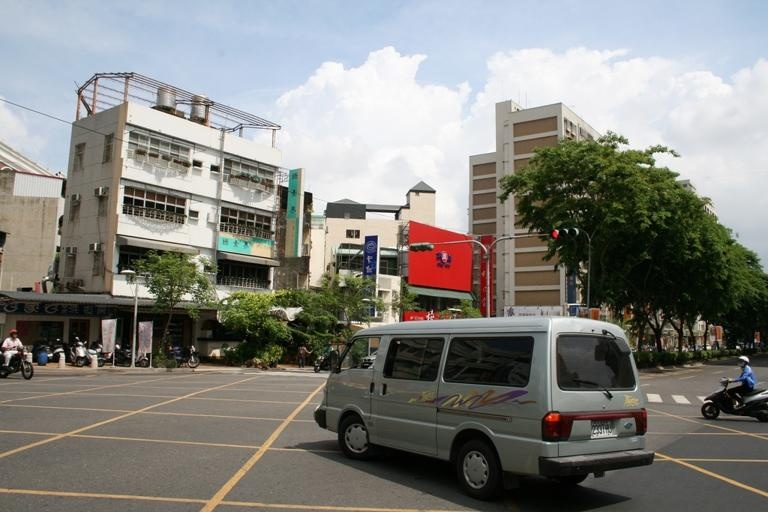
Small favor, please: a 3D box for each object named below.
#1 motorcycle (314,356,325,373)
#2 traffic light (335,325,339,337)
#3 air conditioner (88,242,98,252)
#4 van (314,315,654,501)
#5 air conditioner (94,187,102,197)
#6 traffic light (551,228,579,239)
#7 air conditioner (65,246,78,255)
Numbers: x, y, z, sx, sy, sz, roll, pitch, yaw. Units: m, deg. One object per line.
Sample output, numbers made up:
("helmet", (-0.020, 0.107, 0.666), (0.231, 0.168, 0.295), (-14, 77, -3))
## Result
("motorcycle", (-3.971, 6.591, 37.532), (0.496, 1.065, 0.627), (0, 3, 34))
("traffic light", (-3.365, 5.387, 44.991), (0.162, 0.523, 0.592), (6, 6, -1))
("air conditioner", (-18.501, -0.506, 39.824), (0.498, 0.522, 0.841), (8, -13, -39))
("van", (1.780, 2.846, 13.093), (6.125, 2.541, 3.173), (-3, -11, 44))
("air conditioner", (-18.509, -4.137, 40.444), (0.643, 0.497, 0.359), (-10, -14, 39))
("traffic light", (7.972, -1.081, 27.644), (0.979, 0.513, 1.436), (0, -10, 10))
("air conditioner", (-20.918, -0.165, 41.805), (0.857, 0.576, 0.462), (-7, -12, 35))
